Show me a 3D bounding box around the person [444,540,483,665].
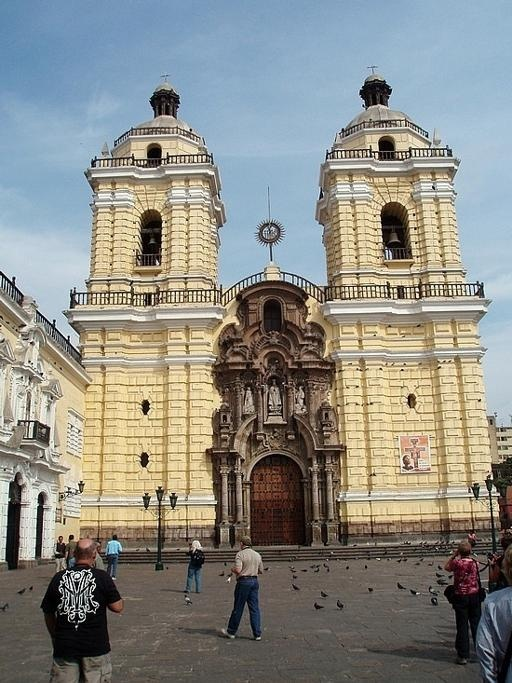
[{"bbox_3d":[2.525,3.103,7.934,0.458,1.313,0.367,1,-11,8],"label":"person"}]

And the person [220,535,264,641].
[{"bbox_3d":[-0.099,3.527,9.472,0.698,1.317,0.600,2,-4,-21],"label":"person"}]

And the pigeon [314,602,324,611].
[{"bbox_3d":[1.155,4.798,11.991,0.105,0.158,0.263,10,-25,-9],"label":"pigeon"}]

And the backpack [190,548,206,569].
[{"bbox_3d":[-1.316,4.859,14.696,0.281,0.438,0.602,0,-16,-9],"label":"backpack"}]

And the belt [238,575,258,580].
[{"bbox_3d":[-0.120,3.310,9.244,0.266,0.053,0.141,1,-16,-14],"label":"belt"}]
